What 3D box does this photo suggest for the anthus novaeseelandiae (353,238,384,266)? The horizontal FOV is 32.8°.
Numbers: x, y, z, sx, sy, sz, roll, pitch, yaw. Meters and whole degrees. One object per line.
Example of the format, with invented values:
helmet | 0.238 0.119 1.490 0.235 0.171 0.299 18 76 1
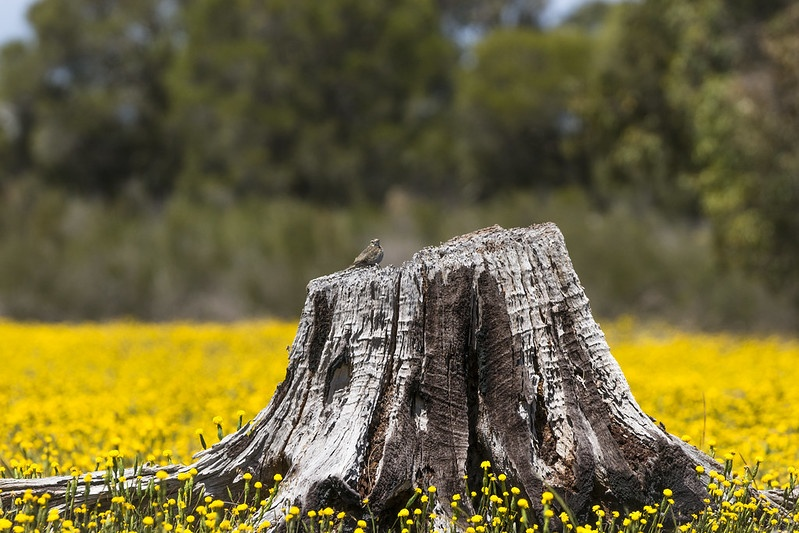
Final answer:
anthus novaeseelandiae | -0.243 -0.091 11.974 0.265 0.311 0.177 -8 -12 2
